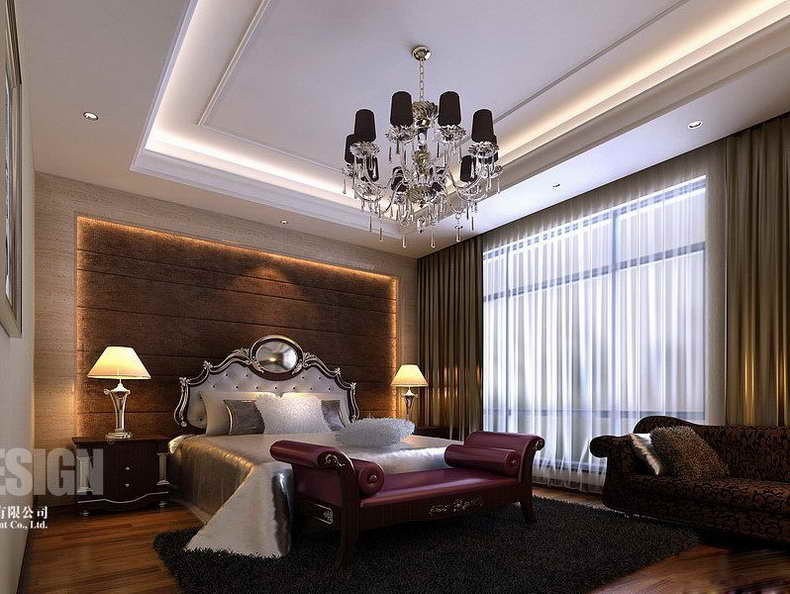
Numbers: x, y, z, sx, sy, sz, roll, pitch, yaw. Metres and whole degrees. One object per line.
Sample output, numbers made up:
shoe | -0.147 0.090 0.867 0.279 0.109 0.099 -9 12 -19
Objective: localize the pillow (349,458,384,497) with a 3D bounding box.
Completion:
pillow | -0.184 1.127 3.395 0.179 0.195 0.229 -7 -3 -20

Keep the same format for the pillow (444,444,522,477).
pillow | 0.679 1.257 4.153 0.645 0.212 0.207 -2 3 33

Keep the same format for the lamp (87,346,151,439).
lamp | -2.522 0.844 4.746 0.451 0.819 0.562 3 -6 -31

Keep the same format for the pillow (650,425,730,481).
pillow | 2.213 1.176 3.972 0.368 0.381 0.179 2 -37 -10

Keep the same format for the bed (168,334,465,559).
bed | -1.095 1.239 4.592 1.866 1.228 1.740 9 -19 -34

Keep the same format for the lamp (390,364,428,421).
lamp | 0.188 1.277 6.610 0.459 0.838 0.474 3 -15 -13

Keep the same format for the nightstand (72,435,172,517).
nightstand | -2.396 1.468 4.698 0.709 0.715 0.496 2 16 -22
